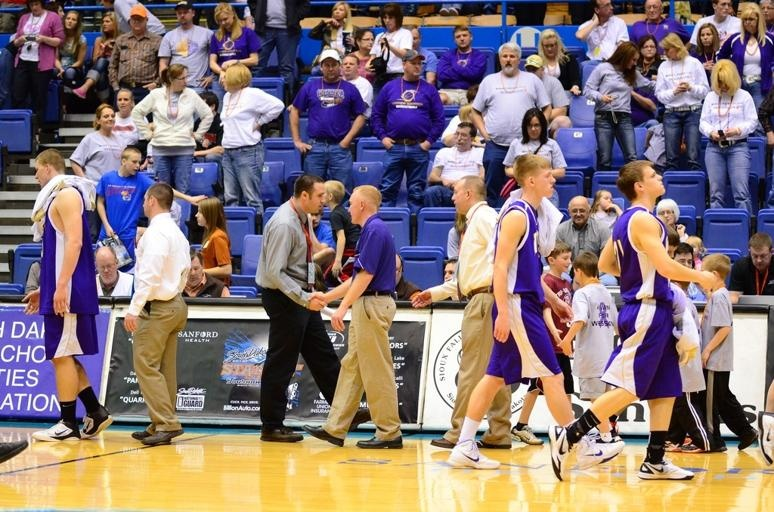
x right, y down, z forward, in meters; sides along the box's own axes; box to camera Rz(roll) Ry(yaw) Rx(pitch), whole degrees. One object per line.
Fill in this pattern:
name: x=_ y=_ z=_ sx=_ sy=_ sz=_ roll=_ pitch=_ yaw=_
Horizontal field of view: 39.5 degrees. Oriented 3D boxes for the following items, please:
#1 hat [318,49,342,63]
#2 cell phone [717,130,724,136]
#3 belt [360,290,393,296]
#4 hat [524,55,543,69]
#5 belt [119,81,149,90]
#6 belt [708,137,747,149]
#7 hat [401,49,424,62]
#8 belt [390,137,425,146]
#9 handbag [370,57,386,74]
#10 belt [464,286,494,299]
hat: x=-0.849 y=-2.977 z=16.202 sx=0.281 sy=0.251 sz=0.534 roll=-1 pitch=4 yaw=-6
cell phone: x=4.717 y=-1.717 z=15.279 sx=0.076 sy=0.108 sz=0.062 roll=1 pitch=4 yaw=21
belt: x=-0.089 y=0.414 z=11.854 sx=0.369 sy=0.071 sz=0.105 roll=-3 pitch=5 yaw=-30
hat: x=2.239 y=-2.941 z=16.483 sx=0.236 sy=0.205 sz=0.303 roll=1 pitch=4 yaw=15
belt: x=-4.239 y=-2.845 z=18.181 sx=0.262 sy=0.098 sz=0.269 roll=2 pitch=2 yaw=4
belt: x=4.824 y=-1.587 z=15.312 sx=0.479 sy=0.221 sz=0.188 roll=1 pitch=4 yaw=14
hat: x=0.363 y=-3.005 z=16.188 sx=0.233 sy=0.170 sz=0.313 roll=-2 pitch=-1 yaw=-26
belt: x=0.296 y=-1.664 z=16.005 sx=0.457 sy=0.114 sz=0.102 roll=0 pitch=4 yaw=8
handbag: x=-0.131 y=-3.051 z=17.520 sx=0.194 sy=0.219 sz=0.250 roll=7 pitch=16 yaw=12
belt: x=0.994 y=0.408 z=11.754 sx=0.113 sy=0.149 sz=0.371 roll=-4 pitch=5 yaw=-37
